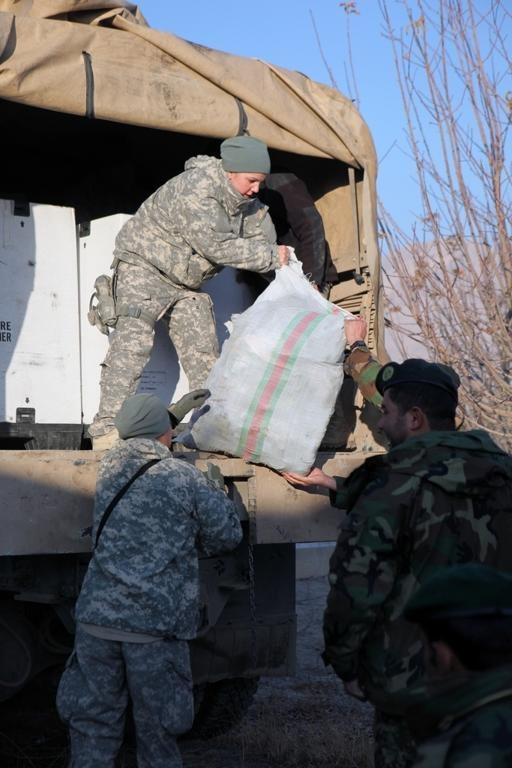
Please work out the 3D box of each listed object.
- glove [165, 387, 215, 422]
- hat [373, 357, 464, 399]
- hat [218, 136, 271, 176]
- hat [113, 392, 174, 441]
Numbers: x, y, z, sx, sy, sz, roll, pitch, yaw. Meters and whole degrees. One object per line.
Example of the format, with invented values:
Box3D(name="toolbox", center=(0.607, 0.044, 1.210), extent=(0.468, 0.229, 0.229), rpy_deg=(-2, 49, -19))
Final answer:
Box3D(name="glove", center=(-0.220, 0.066, 3.481), extent=(0.155, 0.046, 0.100), rpy_deg=(-33, 40, -26))
Box3D(name="hat", center=(0.395, -0.008, 2.486), extent=(0.114, 0.053, 0.150), rpy_deg=(13, -12, -39))
Box3D(name="hat", center=(-0.030, -0.816, 3.654), extent=(0.130, 0.120, 0.170), rpy_deg=(-6, 13, -33))
Box3D(name="hat", center=(-0.321, 0.092, 2.952), extent=(0.158, 0.119, 0.115), rpy_deg=(-22, 30, -22))
